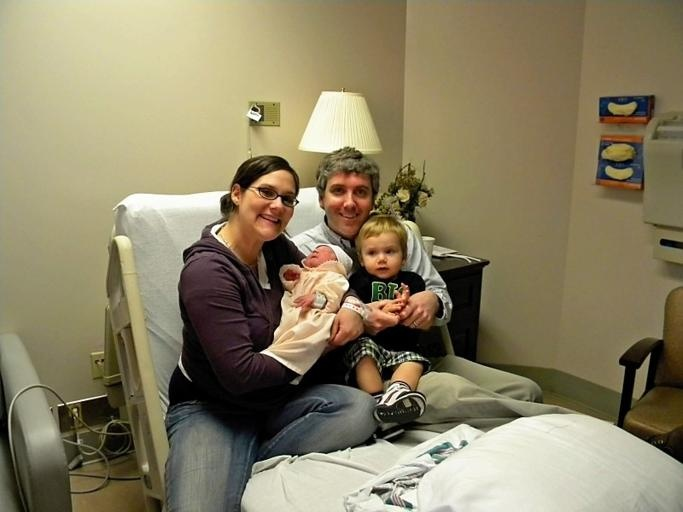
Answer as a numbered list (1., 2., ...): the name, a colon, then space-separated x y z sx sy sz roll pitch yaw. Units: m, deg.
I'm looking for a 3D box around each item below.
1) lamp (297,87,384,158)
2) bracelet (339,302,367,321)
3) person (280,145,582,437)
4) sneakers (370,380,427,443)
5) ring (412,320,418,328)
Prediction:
1. lamp: -0.008 -0.644 2.660 0.408 0.298 0.388 -8 16 -31
2. bracelet: 0.042 0.196 1.754 0.066 0.052 0.068 26 -12 24
3. person: 0.243 0.101 1.970 0.638 1.052 1.330 -8 -3 -15
4. sneakers: 0.152 0.537 1.702 0.095 0.293 0.136 21 43 -23
5. ring: 0.276 0.252 1.891 0.007 0.021 0.020 12 27 41
